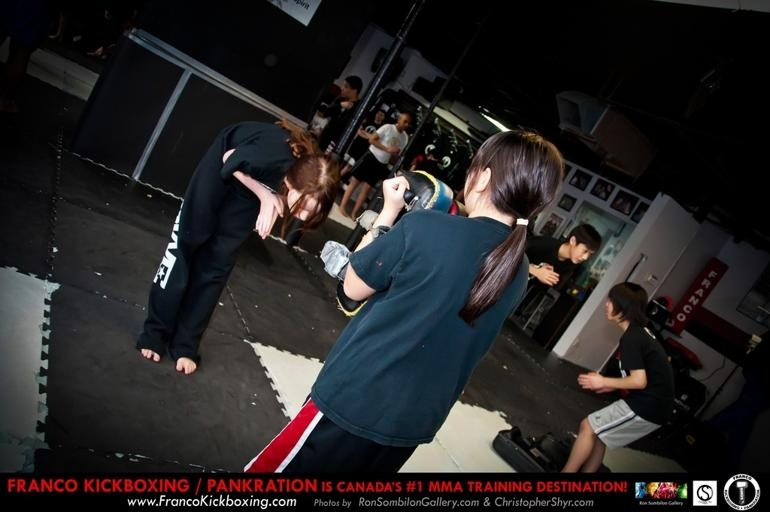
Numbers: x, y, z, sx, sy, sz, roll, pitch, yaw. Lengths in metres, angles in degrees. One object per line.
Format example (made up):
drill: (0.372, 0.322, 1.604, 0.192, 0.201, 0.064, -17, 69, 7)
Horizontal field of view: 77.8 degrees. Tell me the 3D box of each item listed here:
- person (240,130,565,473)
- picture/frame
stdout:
person: (0.164, 0.335, 2.543, 0.916, 1.957, 0.330, 27, 8, -4)
picture/frame: (3.974, -0.976, 8.733, 0.065, 1.063, 1.483, 5, 24, -38)
